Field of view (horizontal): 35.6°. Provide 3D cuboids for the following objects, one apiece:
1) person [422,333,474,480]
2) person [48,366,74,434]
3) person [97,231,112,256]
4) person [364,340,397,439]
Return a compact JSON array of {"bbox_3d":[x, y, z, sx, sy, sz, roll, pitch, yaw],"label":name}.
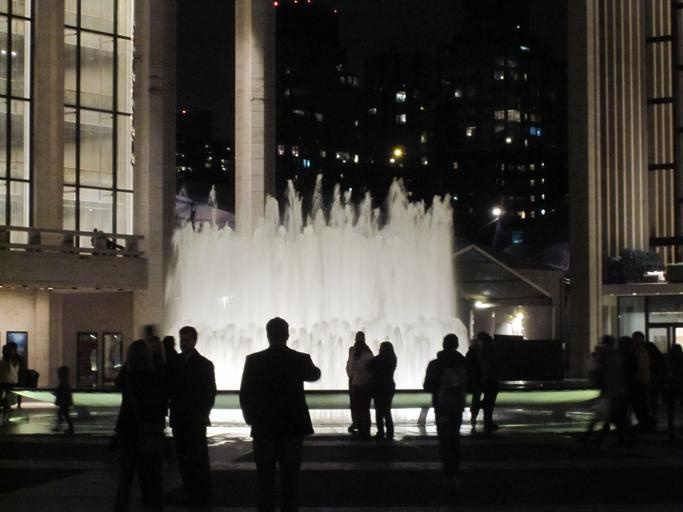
[{"bbox_3d":[2.023,2.796,20.383,0.948,2.744,0.887,-6,17,-16],"label":"person"},{"bbox_3d":[-6.713,3.490,25.777,0.466,1.548,1.070,0,-5,-14],"label":"person"},{"bbox_3d":[-8.631,-0.397,38.575,0.633,0.853,1.060,0,-5,-14],"label":"person"},{"bbox_3d":[0.962,3.057,24.138,0.651,2.185,0.559,0,-5,-16],"label":"person"}]
